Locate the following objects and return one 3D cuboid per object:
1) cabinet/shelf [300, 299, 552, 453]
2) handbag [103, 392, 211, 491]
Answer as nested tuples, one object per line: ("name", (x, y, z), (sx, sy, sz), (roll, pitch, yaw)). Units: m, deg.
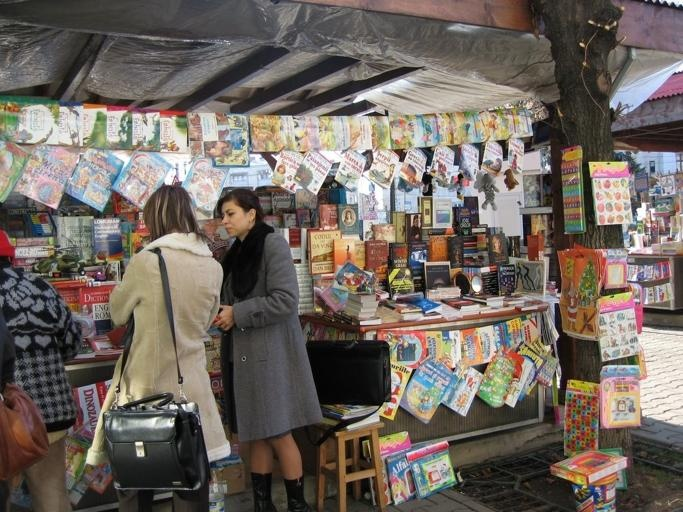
("cabinet/shelf", (0.754, 0.747, 5.032), (2.196, 1.021, 1.156), (-3, 0, -33))
("handbag", (-0.808, 0.816, 2.693), (0.613, 0.567, 0.391), (-3, -5, 7))
